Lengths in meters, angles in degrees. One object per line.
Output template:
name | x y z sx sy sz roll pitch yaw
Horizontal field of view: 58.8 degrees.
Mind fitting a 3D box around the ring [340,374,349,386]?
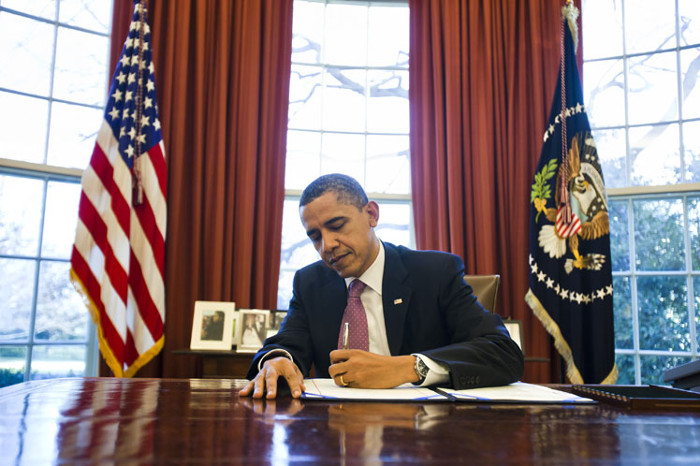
ring | -0.025 0.651 2.748 0.023 0.048 0.039 -14 -7 -6

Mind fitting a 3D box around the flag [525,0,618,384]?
flag | 1.645 -0.347 4.752 0.597 2.945 0.201 0 -6 -1

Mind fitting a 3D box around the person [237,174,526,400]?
person | 0.176 0.212 3.079 1.193 1.045 0.646 -1 -7 2

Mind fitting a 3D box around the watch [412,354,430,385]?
watch | 0.320 0.612 2.752 0.044 0.103 0.076 11 -5 18

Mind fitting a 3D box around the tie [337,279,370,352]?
tie | 0.032 0.432 3.127 0.100 0.391 0.109 4 -35 -8

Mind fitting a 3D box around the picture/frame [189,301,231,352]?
picture/frame | -0.921 0.626 4.187 0.243 0.328 0.027 4 15 -21

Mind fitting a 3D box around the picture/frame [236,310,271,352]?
picture/frame | -0.638 0.659 4.090 0.242 0.336 0.026 0 -31 0
